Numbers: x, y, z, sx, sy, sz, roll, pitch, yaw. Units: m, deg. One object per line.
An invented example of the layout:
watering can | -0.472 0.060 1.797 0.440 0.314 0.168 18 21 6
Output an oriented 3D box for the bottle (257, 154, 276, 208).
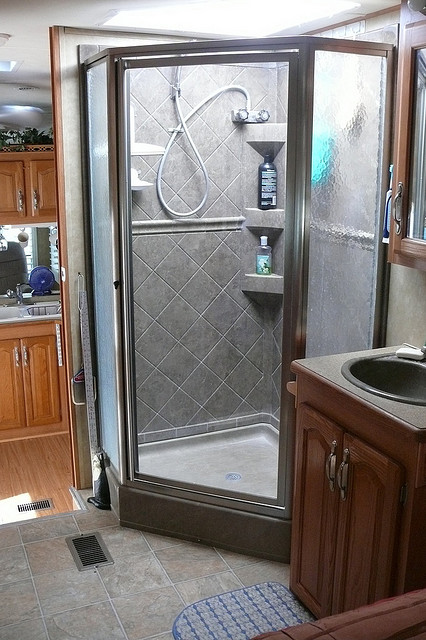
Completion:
bottle | 0.279 -0.730 2.553 0.115 0.274 0.044 2 6 32

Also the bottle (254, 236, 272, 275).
bottle | 0.272 -0.342 2.603 0.044 0.197 0.138 -5 6 -36

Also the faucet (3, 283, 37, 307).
faucet | -1.755 -0.196 4.318 0.205 0.142 0.216 -3 17 -19

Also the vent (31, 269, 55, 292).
vent | -1.561 -0.357 4.394 0.181 0.199 0.045 -2 18 -29

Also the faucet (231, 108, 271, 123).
faucet | 0.190 -1.055 2.503 0.195 0.075 0.029 0 5 11

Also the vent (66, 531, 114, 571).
vent | -0.574 1.050 2.219 0.169 0.299 0.027 -8 35 -4

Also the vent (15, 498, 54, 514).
vent | -1.052 1.104 2.840 0.240 0.023 0.164 -2 6 -4
